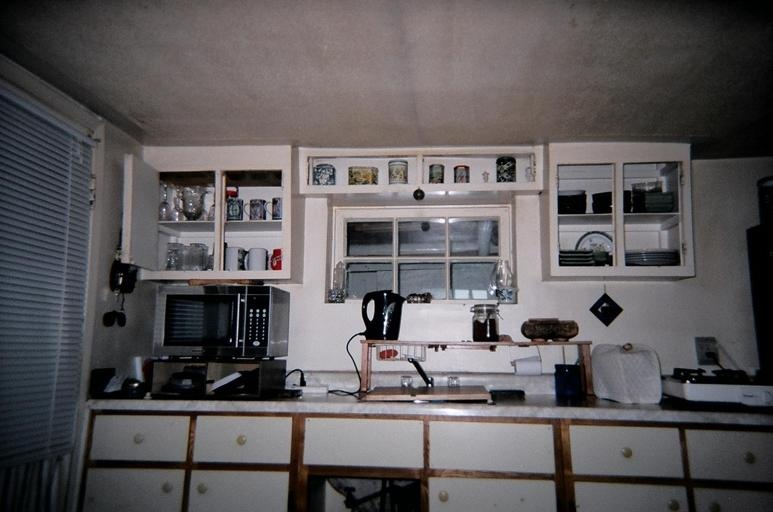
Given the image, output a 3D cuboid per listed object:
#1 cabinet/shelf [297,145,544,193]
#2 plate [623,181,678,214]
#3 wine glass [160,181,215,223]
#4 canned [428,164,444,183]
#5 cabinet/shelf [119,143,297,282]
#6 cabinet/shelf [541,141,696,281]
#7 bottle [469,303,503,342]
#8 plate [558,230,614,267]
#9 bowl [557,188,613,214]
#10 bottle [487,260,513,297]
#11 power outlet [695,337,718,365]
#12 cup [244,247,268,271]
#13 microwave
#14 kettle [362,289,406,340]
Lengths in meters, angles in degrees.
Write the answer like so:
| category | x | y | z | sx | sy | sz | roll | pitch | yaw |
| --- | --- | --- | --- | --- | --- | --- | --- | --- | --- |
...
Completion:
| category | x | y | z | sx | sy | sz | roll | pitch | yaw |
| --- | --- | --- | --- | --- | --- | --- | --- | --- | --- |
| cabinet/shelf | 0.220 | -0.736 | 4.323 | 1.904 | 0.269 | 0.374 | -2 | -32 | 18 |
| plate | 1.854 | -0.394 | 4.128 | 0.279 | 0.182 | 0.270 | -1 | -1 | -6 |
| wine glass | -1.460 | -0.428 | 4.475 | 0.549 | 0.278 | 0.376 | 2 | 10 | 6 |
| canned | 0.358 | -0.595 | 4.242 | 0.096 | 0.155 | 0.062 | 1 | -8 | -3 |
| cabinet/shelf | -1.327 | -0.271 | 4.539 | 1.129 | 0.841 | 0.582 | -2 | 11 | 7 |
| cabinet/shelf | 1.651 | -0.307 | 4.132 | 1.036 | 0.925 | 0.333 | 0 | -10 | 6 |
| bottle | 0.668 | 0.444 | 4.046 | 0.235 | 0.300 | 0.278 | 2 | -6 | -27 |
| plate | 1.417 | -0.055 | 4.165 | 0.370 | 0.291 | 0.291 | -2 | -8 | 17 |
| bowl | 1.395 | -0.392 | 4.147 | 0.296 | 0.101 | 0.197 | 1 | -3 | 10 |
| bottle | 0.840 | 0.163 | 4.295 | 0.188 | 0.299 | 0.114 | -1 | -8 | 9 |
| power outlet | 2.250 | 0.661 | 4.074 | 0.143 | 0.185 | 0.043 | 1 | -13 | 8 |
| cup | -0.944 | 0.028 | 4.236 | 0.169 | 0.167 | 0.179 | 0 | -8 | 0 |
| microwave | -1.124 | 0.438 | 3.871 | 0.847 | 0.509 | 0.515 | 0 | -10 | 1 |
| kettle | -0.027 | 0.407 | 4.014 | 0.278 | 0.340 | 0.099 | 0 | -8 | 2 |
